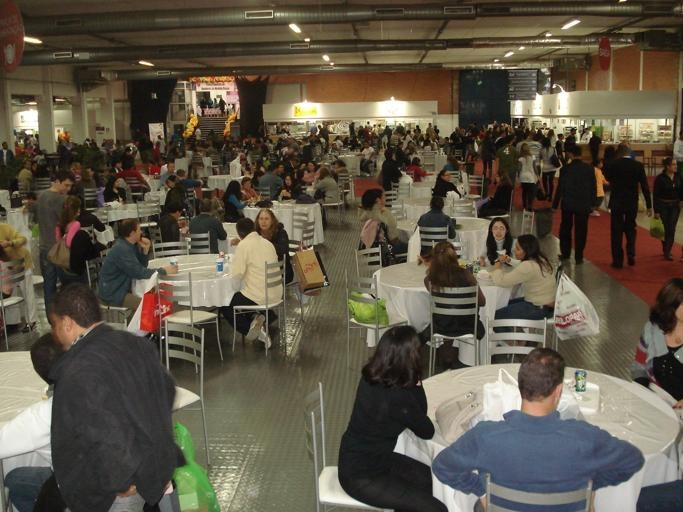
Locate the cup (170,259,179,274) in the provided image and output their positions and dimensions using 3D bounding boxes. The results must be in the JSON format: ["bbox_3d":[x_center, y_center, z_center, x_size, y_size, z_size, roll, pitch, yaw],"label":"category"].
[{"bbox_3d":[-2.086,0.131,6.510,0.052,0.160,0.102,5,-1,-38],"label":"cup"}]

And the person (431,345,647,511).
[{"bbox_3d":[0.872,0.789,2.321,0.888,0.656,0.317,-5,14,-11],"label":"person"}]

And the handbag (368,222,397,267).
[{"bbox_3d":[0.667,-0.190,8.211,0.407,0.602,0.603,2,15,12],"label":"handbag"}]

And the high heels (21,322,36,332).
[{"bbox_3d":[-4.227,0.950,7.069,0.083,0.074,0.173,1,-2,8],"label":"high heels"}]

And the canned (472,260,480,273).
[{"bbox_3d":[1.567,0.118,6.120,0.066,0.250,0.071,-4,14,-8],"label":"canned"}]

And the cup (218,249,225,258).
[{"bbox_3d":[-1.768,-0.042,7.690,0.103,0.134,0.111,0,11,0],"label":"cup"}]

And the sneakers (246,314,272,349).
[{"bbox_3d":[-1.019,0.898,6.441,0.181,0.596,0.238,1,23,-15],"label":"sneakers"}]

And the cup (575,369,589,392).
[{"bbox_3d":[1.518,0.789,3.326,0.077,0.155,0.083,-3,12,1],"label":"cup"}]

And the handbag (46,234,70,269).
[{"bbox_3d":[-3.791,-0.054,7.009,0.331,0.382,0.176,15,17,19],"label":"handbag"}]

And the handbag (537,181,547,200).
[{"bbox_3d":[5.613,-1.828,14.742,0.166,0.433,0.575,-10,1,21],"label":"handbag"}]

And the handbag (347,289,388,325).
[{"bbox_3d":[0.276,0.516,5.686,0.313,0.188,0.412,27,-6,-30],"label":"handbag"}]

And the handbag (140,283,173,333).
[{"bbox_3d":[-1.950,0.549,5.536,0.149,0.467,0.449,8,13,17],"label":"handbag"}]
